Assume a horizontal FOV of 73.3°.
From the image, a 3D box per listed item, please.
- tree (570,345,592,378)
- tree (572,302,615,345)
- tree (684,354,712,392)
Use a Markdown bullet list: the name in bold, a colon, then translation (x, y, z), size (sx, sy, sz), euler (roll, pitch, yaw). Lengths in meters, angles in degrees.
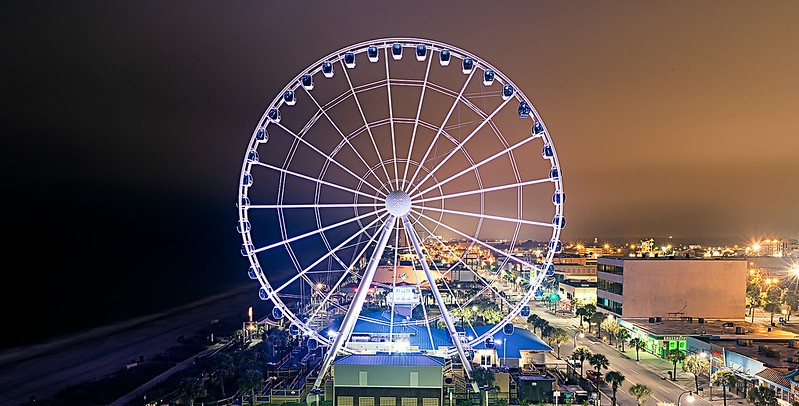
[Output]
- **tree**: translation (40.611, 34.673, 119.428), size (3.906, 6.036, 9.373), euler (-5, 2, 15)
- **tree**: translation (51.143, 30.949, 141.030), size (8.224, 7.283, 7.176), euler (3, -4, -41)
- **tree**: translation (64.107, 36.202, 115.976), size (4.598, 6.860, 8.631), euler (-4, 3, 39)
